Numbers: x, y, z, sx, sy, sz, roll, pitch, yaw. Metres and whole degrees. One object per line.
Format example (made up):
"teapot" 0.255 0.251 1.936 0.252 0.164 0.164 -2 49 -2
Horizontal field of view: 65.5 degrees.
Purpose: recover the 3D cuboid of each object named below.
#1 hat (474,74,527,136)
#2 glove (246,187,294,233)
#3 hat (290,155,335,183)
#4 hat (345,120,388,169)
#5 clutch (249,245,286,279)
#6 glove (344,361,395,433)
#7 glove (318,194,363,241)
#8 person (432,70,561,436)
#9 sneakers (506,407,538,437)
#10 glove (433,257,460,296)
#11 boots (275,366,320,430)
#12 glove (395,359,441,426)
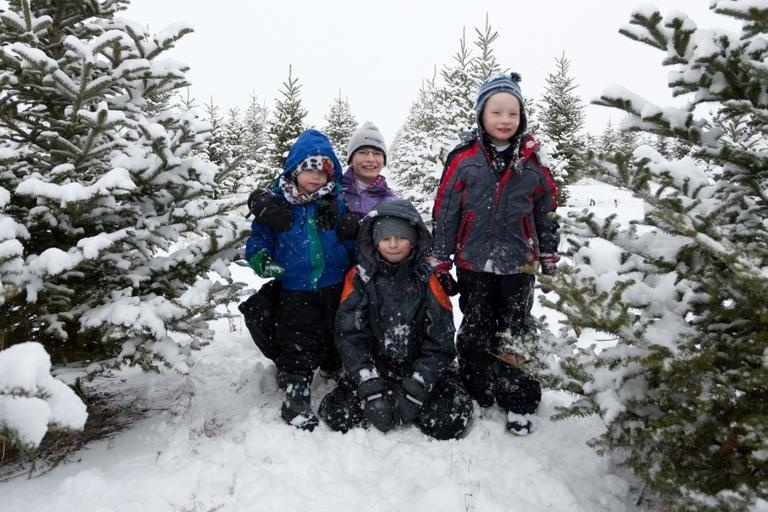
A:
"hat" 0.939 -1.315 5.207 0.508 0.670 0.502 -2 7 3
"glove" -0.983 -0.378 5.165 0.411 0.159 0.315 43 5 35
"hat" -0.629 -0.784 5.348 0.222 0.151 0.284 -2 5 -38
"hat" -0.180 -1.285 6.688 0.358 0.444 0.489 4 -15 -11
"clutch" -1.019 0.062 5.121 0.292 0.251 0.140 2 11 -14
"glove" -0.068 1.194 5.153 0.326 0.568 0.218 -14 -28 0
"glove" -0.415 -0.385 5.326 0.296 0.161 0.412 -1 43 -42
"person" 0.935 -0.068 5.131 1.097 2.909 0.587 7 11 16
"sneakers" 1.147 1.411 5.015 0.234 0.154 0.190 5 11 3
"glove" 0.530 0.187 5.408 0.249 0.334 0.140 -31 12 -30
"boots" -0.725 1.256 5.108 0.182 0.446 0.452 7 6 -43
"glove" 0.262 1.156 5.062 0.282 0.489 0.151 30 -2 25
